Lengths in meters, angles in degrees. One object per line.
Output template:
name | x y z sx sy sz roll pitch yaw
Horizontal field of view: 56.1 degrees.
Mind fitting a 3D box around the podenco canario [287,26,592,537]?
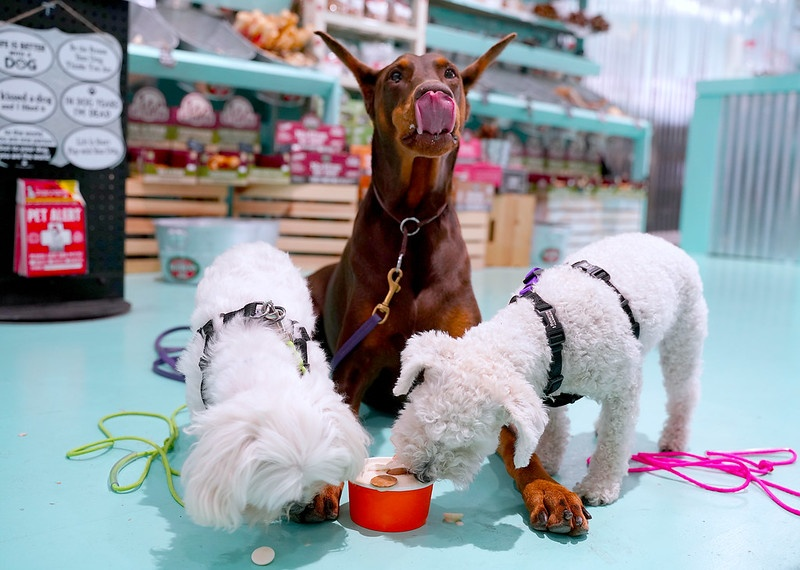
podenco canario | 0.134 -0.063 3.575 0.821 1.516 2.007 2 -14 -1

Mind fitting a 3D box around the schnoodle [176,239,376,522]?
schnoodle | -0.462 0.308 2.573 0.996 0.825 0.629 4 13 -21

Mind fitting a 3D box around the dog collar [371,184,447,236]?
dog collar | 0.036 -0.306 2.972 0.261 0.190 0.186 -10 14 -35

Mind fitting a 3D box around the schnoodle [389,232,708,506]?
schnoodle | 0.578 0.291 2.664 1.279 0.954 0.462 -3 7 -43
